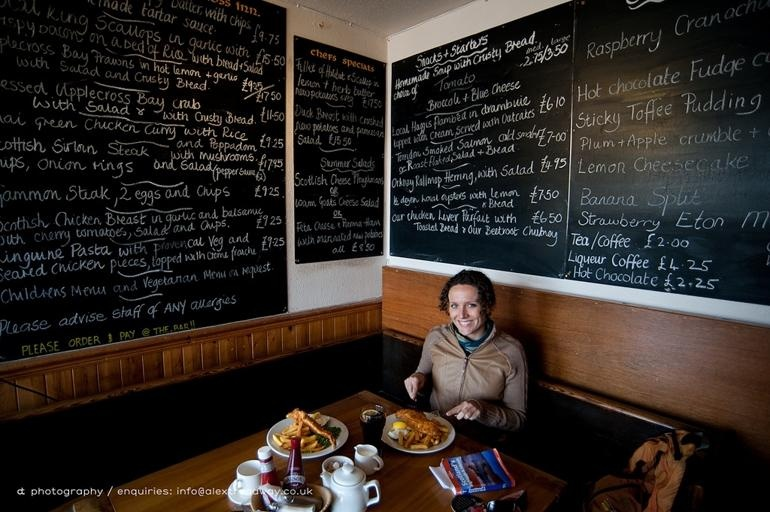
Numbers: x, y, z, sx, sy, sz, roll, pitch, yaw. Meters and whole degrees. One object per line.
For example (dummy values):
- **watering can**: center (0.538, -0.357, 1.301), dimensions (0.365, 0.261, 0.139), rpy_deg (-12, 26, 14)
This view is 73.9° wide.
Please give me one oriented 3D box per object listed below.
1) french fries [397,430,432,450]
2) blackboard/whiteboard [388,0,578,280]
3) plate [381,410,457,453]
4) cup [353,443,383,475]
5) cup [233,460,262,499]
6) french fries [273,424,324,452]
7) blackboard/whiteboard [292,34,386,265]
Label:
- **french fries**: center (0.140, 0.914, 2.538), dimensions (0.093, 0.023, 0.093), rpy_deg (-12, 12, -28)
- **blackboard/whiteboard**: center (0.686, -0.798, 3.401), dimensions (1.838, 1.973, 0.095), rpy_deg (1, 0, 42)
- **plate**: center (0.164, 0.890, 2.566), dimensions (0.230, 0.054, 0.238), rpy_deg (2, 10, -11)
- **cup**: center (-0.082, 0.939, 2.413), dimensions (0.094, 0.105, 0.151), rpy_deg (-3, 7, -40)
- **cup**: center (-0.611, 1.005, 2.330), dimensions (0.096, 0.107, 0.154), rpy_deg (2, 10, 14)
- **french fries**: center (-0.422, 0.901, 2.521), dimensions (0.139, 0.024, 0.142), rpy_deg (11, 11, 40)
- **blackboard/whiteboard**: center (-0.328, -0.759, 3.766), dimensions (0.855, 1.553, 0.133), rpy_deg (-9, 11, -43)
